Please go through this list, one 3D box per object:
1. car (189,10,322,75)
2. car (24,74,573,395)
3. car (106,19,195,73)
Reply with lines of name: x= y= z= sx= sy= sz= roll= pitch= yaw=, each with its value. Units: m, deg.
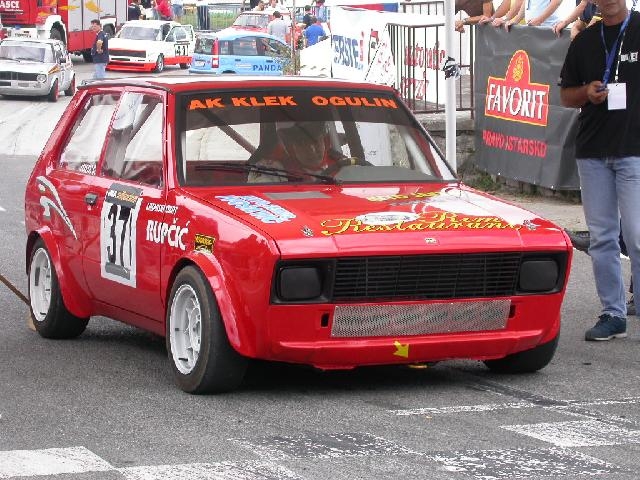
car: x=-3.445 y=-7.886 z=29.738 sx=4.369 sy=1.740 sz=1.687 roll=10 pitch=18 yaw=32
car: x=-0.431 y=-0.244 z=5.485 sx=2.647 sy=1.505 sz=3.837 roll=-3 pitch=11 yaw=-36
car: x=-9.118 y=-10.699 z=39.427 sx=3.557 sy=1.744 sz=5.288 roll=7 pitch=11 yaw=24
